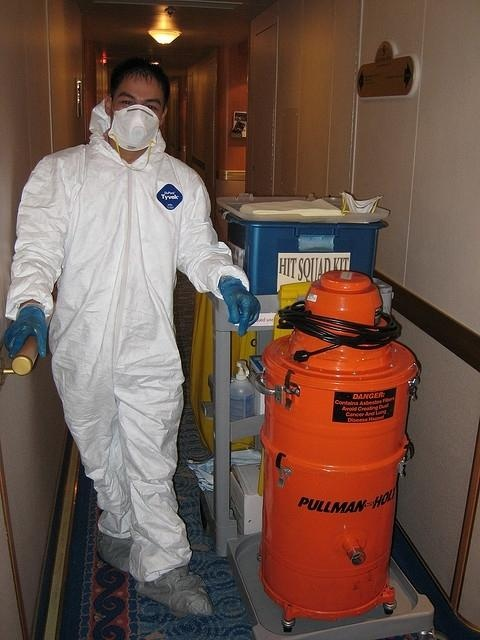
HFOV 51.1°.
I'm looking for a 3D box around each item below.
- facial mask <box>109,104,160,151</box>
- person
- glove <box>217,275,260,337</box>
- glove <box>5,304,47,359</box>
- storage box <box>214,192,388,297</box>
[{"bbox_3d":[-0.308,-0.554,1.449,0.147,0.121,0.149,-4,16,-12],"label":"facial mask"},{"bbox_3d":[-0.322,0.096,1.497,0.718,1.669,0.590,-10,17,-31],"label":"person"},{"bbox_3d":[-0.009,-0.049,1.423,0.098,0.137,0.192,-10,19,-34],"label":"glove"},{"bbox_3d":[-0.454,0.025,1.065,0.078,0.078,0.209,-5,17,-18],"label":"glove"},{"bbox_3d":[0.174,-0.327,1.662,0.441,0.336,0.411,-4,22,-14],"label":"storage box"}]
